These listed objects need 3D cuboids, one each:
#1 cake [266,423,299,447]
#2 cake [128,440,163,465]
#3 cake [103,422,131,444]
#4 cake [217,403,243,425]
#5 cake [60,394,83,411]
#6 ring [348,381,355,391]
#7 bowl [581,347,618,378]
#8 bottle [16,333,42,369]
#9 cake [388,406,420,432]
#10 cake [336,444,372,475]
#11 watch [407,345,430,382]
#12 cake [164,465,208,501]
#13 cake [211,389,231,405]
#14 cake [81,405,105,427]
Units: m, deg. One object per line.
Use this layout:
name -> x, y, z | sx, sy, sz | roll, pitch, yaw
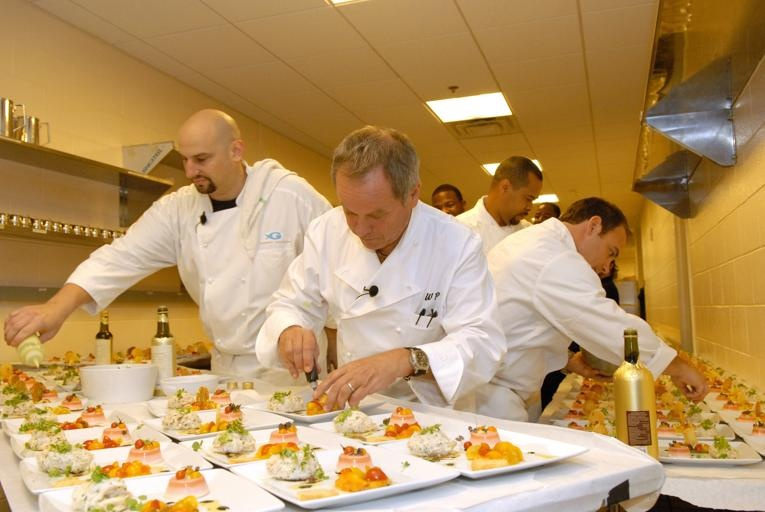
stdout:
cake -> -0.284, 0.503, 1.458 | 0.064, 0.036, 0.062 | 0, -7, 7
cake -> -0.608, 0.499, 1.325 | 0.060, 0.034, 0.058 | 1, -9, -1
cake -> -0.755, 0.507, 1.479 | 0.055, 0.031, 0.054 | 5, -4, 9
cake -> -0.489, 0.495, 1.650 | 0.072, 0.037, 0.086 | 0, -5, -10
cake -> -1.094, 0.514, 1.831 | 0.057, 0.032, 0.055 | 1, -4, 5
ring -> -0.100, 0.416, 1.651 | 0.020, 0.022, 0.023 | -19, -30, -2
bowl -> 1.065, 0.547, 2.588 | 0.185, 0.072, 0.183 | 32, -14, 9
bottle -> -1.383, 0.365, 2.041 | 0.063, 0.056, 0.193 | -16, 31, -31
cake -> 0.057, 0.507, 1.603 | 0.067, 0.042, 0.065 | 4, -6, -16
cake -> -0.073, 0.500, 1.277 | 0.065, 0.036, 0.062 | 4, -6, -24
watch -> 0.120, 0.361, 1.755 | 0.066, 0.094, 0.096 | 7, -21, -40
cake -> -0.443, 0.512, 1.174 | 0.097, 0.056, 0.093 | -4, -8, -3
cake -> -0.602, 0.532, 1.945 | 0.047, 0.027, 0.045 | 1, -5, 4
cake -> -0.923, 0.516, 1.666 | 0.059, 0.034, 0.057 | 2, -6, 2
